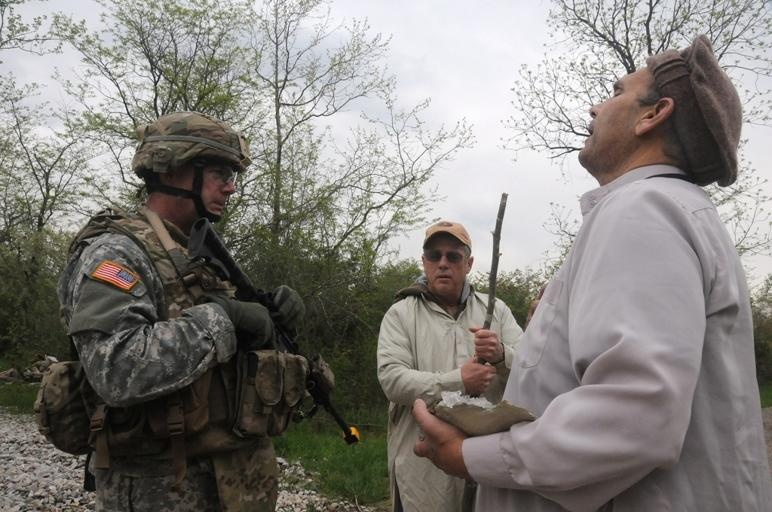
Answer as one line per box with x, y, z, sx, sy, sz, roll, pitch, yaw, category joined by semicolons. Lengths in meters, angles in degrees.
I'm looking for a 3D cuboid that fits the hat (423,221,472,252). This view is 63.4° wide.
0.479;-0.134;5.052;0.275;0.206;0.391;3;-20;10;hat

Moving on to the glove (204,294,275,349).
-1.011;0.419;4.097;0.497;0.222;0.368;16;-20;29;glove
